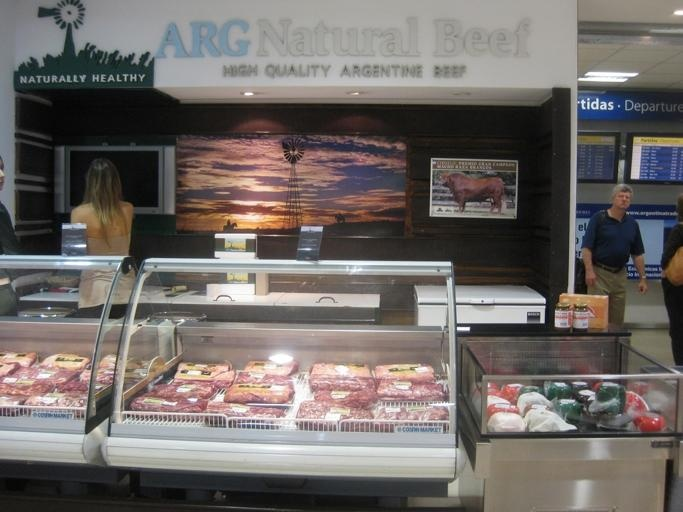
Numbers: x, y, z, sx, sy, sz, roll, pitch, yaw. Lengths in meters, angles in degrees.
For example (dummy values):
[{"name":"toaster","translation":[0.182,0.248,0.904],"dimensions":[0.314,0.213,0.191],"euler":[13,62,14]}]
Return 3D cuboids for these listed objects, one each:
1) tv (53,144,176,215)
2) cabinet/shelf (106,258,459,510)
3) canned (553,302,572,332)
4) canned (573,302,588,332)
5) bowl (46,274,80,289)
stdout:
[{"name":"tv","translation":[-2.010,-0.712,5.078],"dimensions":[0.914,0.441,0.075],"euler":[0,5,0]},{"name":"cabinet/shelf","translation":[-0.243,0.631,3.219],"dimensions":[1.979,1.096,1.060],"euler":[-5,8,18]},{"name":"canned","translation":[1.333,0.362,3.405],"dimensions":[0.155,0.184,0.145],"euler":[1,2,28]},{"name":"canned","translation":[1.428,0.359,3.383],"dimensions":[0.083,0.147,0.032],"euler":[0,6,4]},{"name":"bowl","translation":[-1.496,0.132,3.051],"dimensions":[0.153,0.042,0.095],"euler":[3,5,10]}]
